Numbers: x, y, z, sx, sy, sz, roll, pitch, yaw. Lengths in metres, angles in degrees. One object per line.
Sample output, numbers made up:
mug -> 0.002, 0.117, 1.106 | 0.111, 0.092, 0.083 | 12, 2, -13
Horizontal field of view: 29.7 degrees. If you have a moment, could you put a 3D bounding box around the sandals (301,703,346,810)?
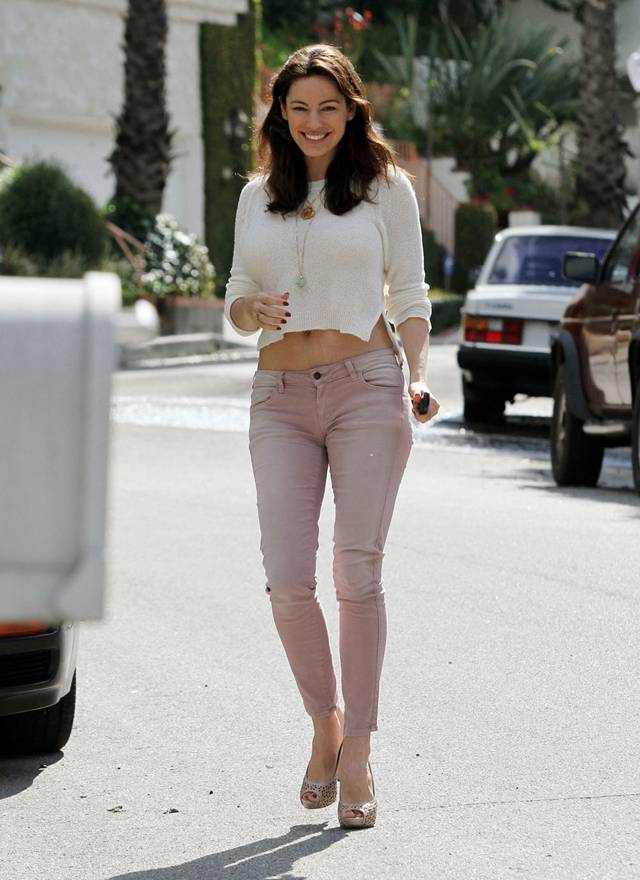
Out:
sandals -> 0.013, 0.755, 2.920 | 0.087, 0.249, 0.111 | -4, -29, 35

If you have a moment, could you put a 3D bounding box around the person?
person -> 0.009, -0.039, 2.866 | 0.514, 1.817, 0.402 | 2, 6, 19

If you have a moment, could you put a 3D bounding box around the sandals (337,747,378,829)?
sandals -> 0.084, 0.808, 2.807 | 0.091, 0.152, 0.197 | 0, 5, 1
